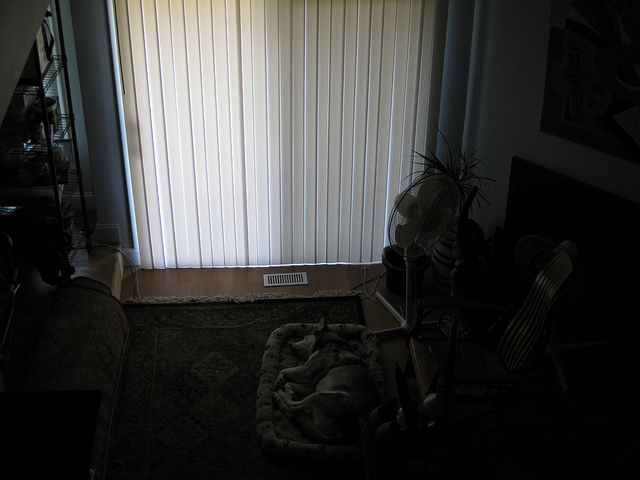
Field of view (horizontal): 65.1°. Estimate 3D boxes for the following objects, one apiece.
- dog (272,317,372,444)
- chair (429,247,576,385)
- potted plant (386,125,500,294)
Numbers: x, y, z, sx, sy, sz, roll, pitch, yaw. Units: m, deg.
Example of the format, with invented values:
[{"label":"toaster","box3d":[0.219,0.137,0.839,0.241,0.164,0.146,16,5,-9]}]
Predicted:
[{"label":"dog","box3d":[0.067,0.857,3.110,0.814,0.316,0.648,13,24,33]},{"label":"chair","box3d":[0.958,0.367,2.670,0.706,0.773,0.566,-2,32,3]},{"label":"potted plant","box3d":[1.034,-0.099,4.077,0.761,0.739,1.342,12,53,10]}]
